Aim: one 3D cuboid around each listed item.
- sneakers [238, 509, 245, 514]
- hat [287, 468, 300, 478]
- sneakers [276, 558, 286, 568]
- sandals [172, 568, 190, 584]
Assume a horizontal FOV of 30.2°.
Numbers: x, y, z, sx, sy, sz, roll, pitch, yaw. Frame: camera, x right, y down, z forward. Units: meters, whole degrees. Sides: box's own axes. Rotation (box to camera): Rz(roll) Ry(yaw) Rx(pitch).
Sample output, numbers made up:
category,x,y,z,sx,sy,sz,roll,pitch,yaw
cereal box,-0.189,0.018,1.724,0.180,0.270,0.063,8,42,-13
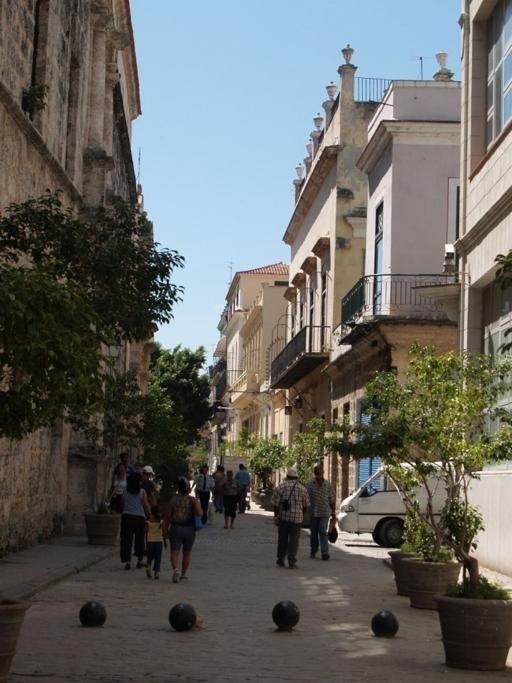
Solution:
category,x,y,z,sx,sy,sz,roll,pitch,yaw
sneakers,-0.540,6.142,34.267,0.183,0.210,0.136,0,1,10
hat,0.602,2.161,15.597,0.122,0.108,0.179,3,7,10
sneakers,0.390,3.501,14.942,0.063,0.152,0.202,1,-18,-6
sandals,-0.998,3.089,12.485,0.101,0.151,0.304,3,-6,1
